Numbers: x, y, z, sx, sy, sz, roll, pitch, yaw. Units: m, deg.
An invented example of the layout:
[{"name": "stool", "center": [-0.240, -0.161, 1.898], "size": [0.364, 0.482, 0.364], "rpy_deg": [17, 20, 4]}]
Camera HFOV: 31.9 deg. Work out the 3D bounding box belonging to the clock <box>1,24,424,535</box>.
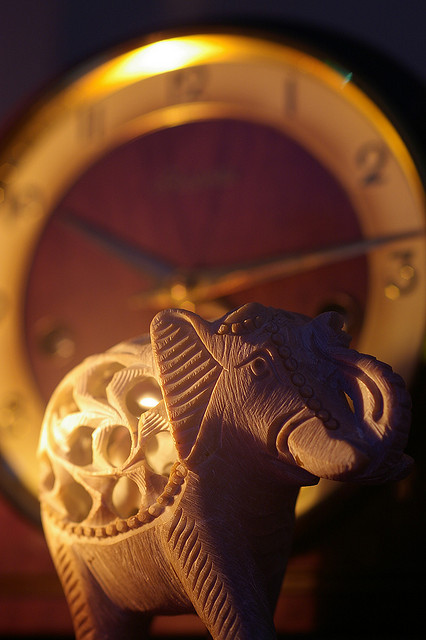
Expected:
[{"name": "clock", "center": [-0.036, -0.053, 0.687], "size": [0.446, 0.260, 0.337], "rpy_deg": [-16, 64, -9]}]
